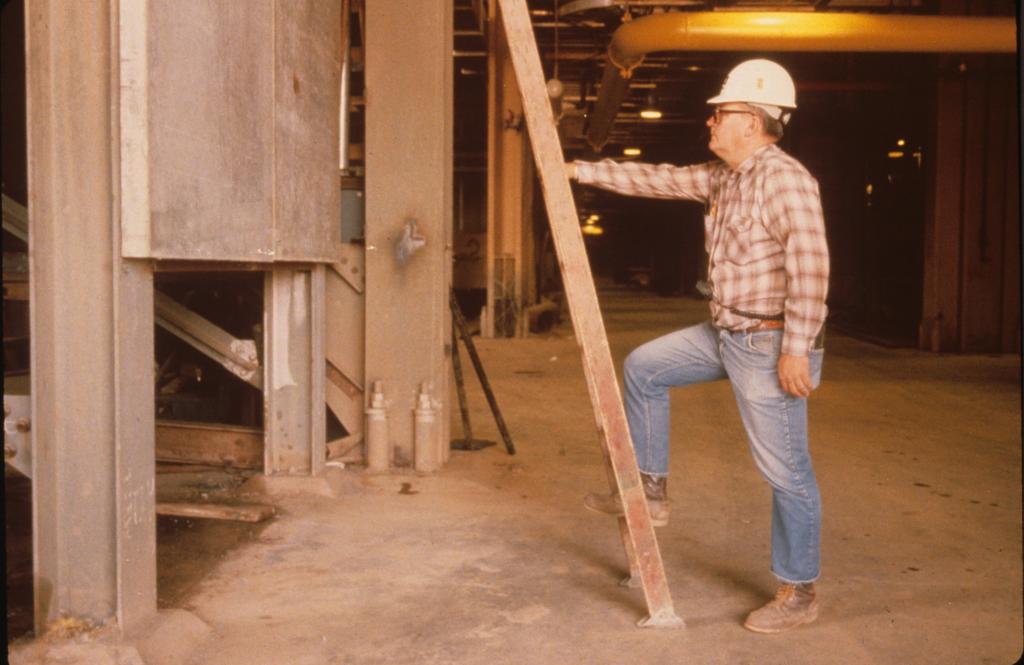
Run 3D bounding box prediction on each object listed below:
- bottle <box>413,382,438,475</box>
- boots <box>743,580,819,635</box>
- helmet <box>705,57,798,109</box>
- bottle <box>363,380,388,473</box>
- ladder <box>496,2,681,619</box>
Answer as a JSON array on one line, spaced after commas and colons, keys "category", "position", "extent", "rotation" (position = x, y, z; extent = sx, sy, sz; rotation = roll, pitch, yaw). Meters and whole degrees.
[{"category": "bottle", "position": [-0.671, 0.747, 8.905], "extent": [0.173, 0.693, 0.216], "rotation": [0, 14, -5]}, {"category": "boots", "position": [1.665, 1.681, 6.939], "extent": [0.519, 0.380, 0.215], "rotation": [-2, 2, -3]}, {"category": "helmet", "position": [1.524, -1.562, 7.146], "extent": [0.592, 0.305, 0.455], "rotation": [7, 14, 10]}, {"category": "bottle", "position": [-1.041, 0.725, 8.829], "extent": [0.168, 0.653, 0.337], "rotation": [-1, 15, -7]}, {"category": "ladder", "position": [0.486, -0.091, 6.861], "extent": [1.359, 3.671, 0.328], "rotation": [15, 20, 43]}]
